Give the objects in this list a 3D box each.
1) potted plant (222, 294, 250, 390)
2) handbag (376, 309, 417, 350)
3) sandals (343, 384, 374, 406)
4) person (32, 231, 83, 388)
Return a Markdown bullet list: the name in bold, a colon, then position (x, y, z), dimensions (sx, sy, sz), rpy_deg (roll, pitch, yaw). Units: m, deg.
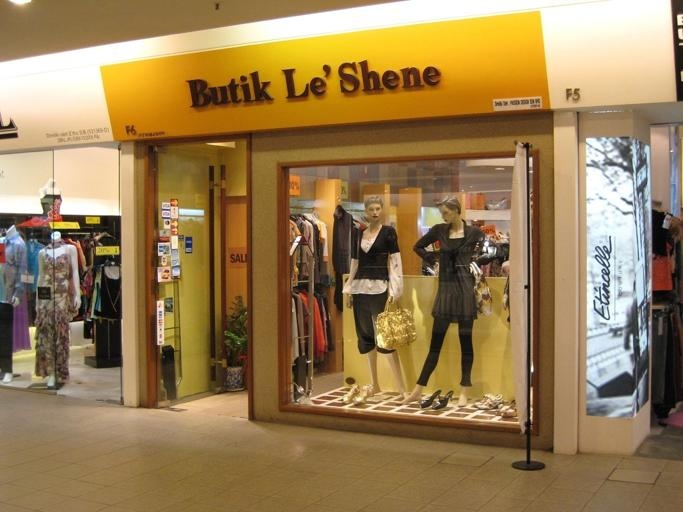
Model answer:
- **potted plant**: position (-1.408, 1.164, 7.096), dimensions (0.344, 1.264, 0.433), rpy_deg (-3, 0, -13)
- **handbag**: position (0.549, 0.685, 5.404), dimensions (0.410, 0.432, 0.194), rpy_deg (-5, 2, -23)
- **sandals**: position (0.177, 1.416, 5.456), dimensions (0.298, 0.177, 0.117), rpy_deg (-37, -42, 9)
- **person**: position (-3.830, 0.720, 7.159), dimensions (0.562, 2.208, 0.262), rpy_deg (-3, 0, -27)
